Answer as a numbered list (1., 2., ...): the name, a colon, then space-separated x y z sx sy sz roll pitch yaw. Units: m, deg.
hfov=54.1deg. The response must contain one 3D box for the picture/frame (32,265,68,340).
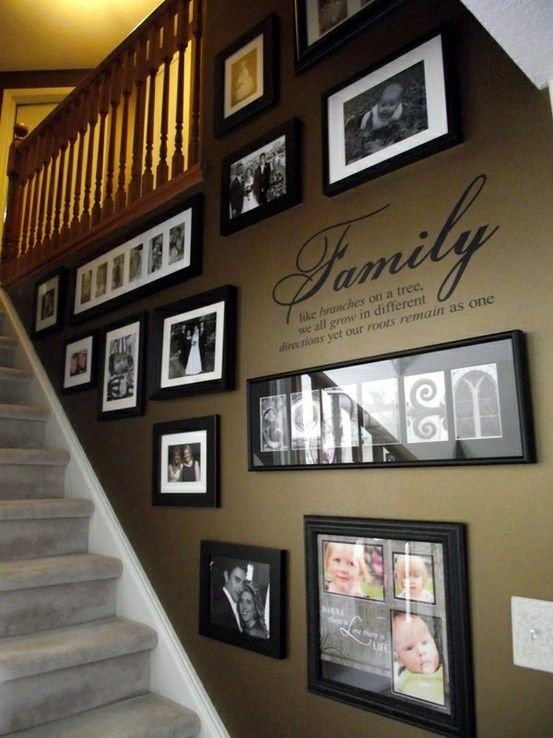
1. picture/frame: -1.185 -0.341 2.854 0.045 0.379 0.344 5 -7 -38

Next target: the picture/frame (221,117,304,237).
1. picture/frame: -0.036 -0.605 1.729 0.038 0.344 0.354 11 -20 -39

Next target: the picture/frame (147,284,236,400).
1. picture/frame: -0.297 -0.081 1.883 0.367 0.371 0.043 -9 -13 34

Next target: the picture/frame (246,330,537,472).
1. picture/frame: 0.251 0.093 1.259 0.639 0.274 0.156 -9 -13 34

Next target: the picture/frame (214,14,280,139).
1. picture/frame: -0.093 -1.008 1.876 0.033 0.487 0.437 8 -16 -34

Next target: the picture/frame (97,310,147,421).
1. picture/frame: -0.629 0.000 2.233 0.028 0.487 0.359 8 -13 -39

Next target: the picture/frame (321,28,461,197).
1. picture/frame: 0.302 -0.646 1.380 0.045 0.403 0.429 12 -21 -38

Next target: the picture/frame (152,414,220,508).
1. picture/frame: -0.309 0.318 1.839 0.336 0.289 0.024 -11 -14 41

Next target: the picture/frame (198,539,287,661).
1. picture/frame: -0.087 0.669 1.554 0.027 0.343 0.341 7 -12 -39

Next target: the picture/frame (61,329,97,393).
1. picture/frame: -0.917 -0.029 2.540 0.025 0.290 0.244 5 -9 -43
